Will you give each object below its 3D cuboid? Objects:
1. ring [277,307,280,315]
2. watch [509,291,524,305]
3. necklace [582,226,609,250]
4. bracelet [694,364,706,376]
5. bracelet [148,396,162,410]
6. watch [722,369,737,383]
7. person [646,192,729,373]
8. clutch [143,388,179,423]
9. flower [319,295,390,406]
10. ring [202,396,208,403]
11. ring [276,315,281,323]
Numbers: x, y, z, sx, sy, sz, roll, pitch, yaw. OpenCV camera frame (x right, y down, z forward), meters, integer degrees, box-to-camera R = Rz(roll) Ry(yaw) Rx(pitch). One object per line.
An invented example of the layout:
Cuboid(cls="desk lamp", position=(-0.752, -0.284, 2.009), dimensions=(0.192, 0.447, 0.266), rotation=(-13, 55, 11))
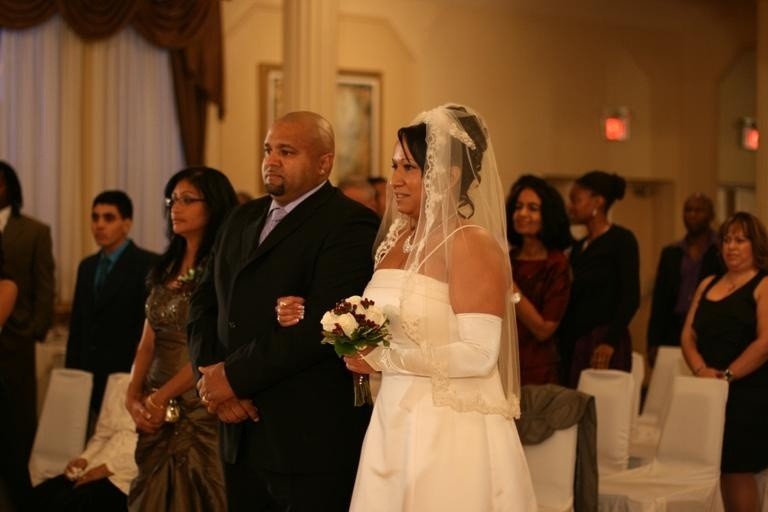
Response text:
Cuboid(cls="ring", position=(-0.572, 0.303, 4.170), dimensions=(0.007, 0.024, 0.017), rotation=(4, -4, -26))
Cuboid(cls="watch", position=(0.815, 0.270, 4.765), dimensions=(0.055, 0.109, 0.102), rotation=(13, -11, -31))
Cuboid(cls="necklace", position=(1.695, -0.140, 6.180), dimensions=(0.285, 0.209, 0.067), rotation=(1, 2, -35))
Cuboid(cls="bracelet", position=(2.349, 0.858, 5.734), dimensions=(0.017, 0.067, 0.068), rotation=(26, 21, 8))
Cuboid(cls="bracelet", position=(-1.442, 0.925, 4.845), dimensions=(0.081, 0.078, 0.021), rotation=(-29, -15, 38))
Cuboid(cls="watch", position=(2.492, 0.872, 5.548), dimensions=(0.050, 0.055, 0.059), rotation=(44, -13, 41))
Cuboid(cls="person", position=(2.589, 0.536, 6.579), dimensions=(0.644, 2.110, 0.556), rotation=(6, 15, 29))
Cuboid(cls="clutch", position=(-1.411, 0.964, 4.955), dimensions=(0.158, 0.240, 0.231), rotation=(2, -12, -5))
Cuboid(cls="flower", position=(-0.157, 0.528, 4.124), dimensions=(0.370, 0.624, 0.344), rotation=(2, 2, -6))
Cuboid(cls="ring", position=(-0.981, 0.790, 4.217), dimensions=(0.026, 0.028, 0.029), rotation=(-13, 3, 1))
Cuboid(cls="ring", position=(-0.577, 0.348, 4.199), dimensions=(0.036, 0.039, 0.038), rotation=(0, -6, 0))
